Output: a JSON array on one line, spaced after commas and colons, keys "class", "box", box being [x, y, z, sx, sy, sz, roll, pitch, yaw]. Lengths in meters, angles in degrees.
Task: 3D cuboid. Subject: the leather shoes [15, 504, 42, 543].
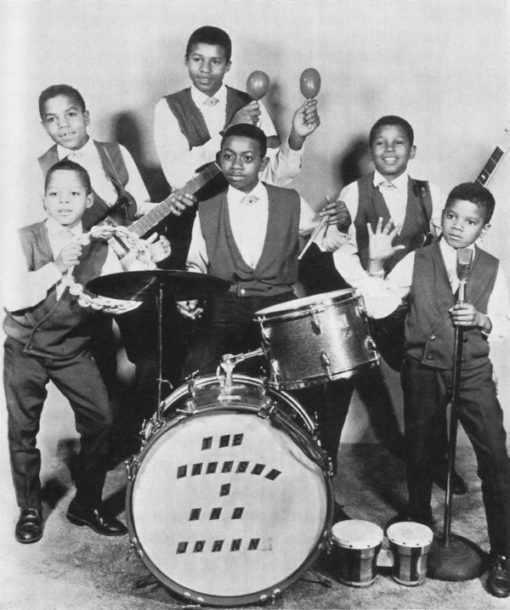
[{"class": "leather shoes", "box": [-0.943, 0.920, 3.360, 0.077, 0.075, 0.161, -2, 31, -19]}]

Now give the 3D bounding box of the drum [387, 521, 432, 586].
[{"class": "drum", "box": [0.581, 0.935, 3.129, 0.207, 0.233, 0.202, 1, 13, 8]}]

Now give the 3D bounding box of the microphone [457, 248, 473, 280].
[{"class": "microphone", "box": [0.864, -0.169, 3.316, 0.062, 0.107, 0.155, 5, 19, 19]}]

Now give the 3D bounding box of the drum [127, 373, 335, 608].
[{"class": "drum", "box": [-0.080, 0.698, 2.880, 0.811, 0.894, 0.387, -1, 9, -3]}]

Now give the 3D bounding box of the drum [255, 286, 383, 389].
[{"class": "drum", "box": [0.231, 0.059, 3.103, 0.468, 0.365, 0.489, -13, 24, 6]}]

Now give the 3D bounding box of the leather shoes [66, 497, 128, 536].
[{"class": "leather shoes", "box": [-0.658, 0.900, 3.339, 0.268, 0.123, 0.109, 20, 4, 6]}]

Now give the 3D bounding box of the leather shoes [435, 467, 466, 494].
[{"class": "leather shoes", "box": [0.846, 0.752, 3.479, 0.139, 0.104, 0.035, 36, 22, -12]}]

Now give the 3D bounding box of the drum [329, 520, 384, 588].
[{"class": "drum", "box": [0.405, 0.963, 3.130, 0.209, 0.209, 0.231, 9, 17, 42]}]
